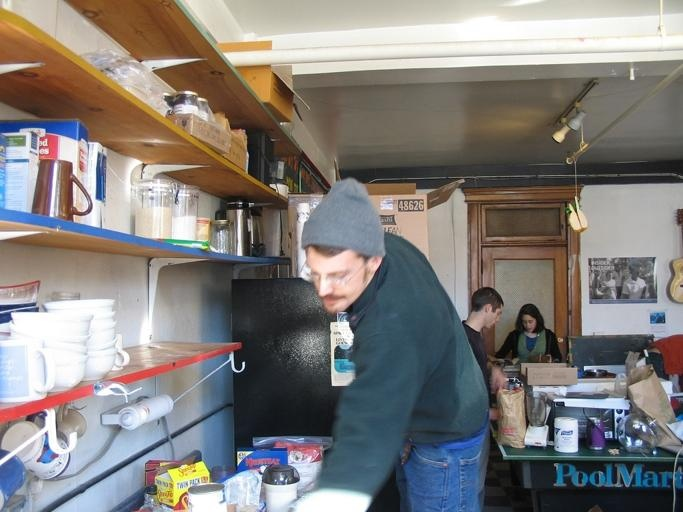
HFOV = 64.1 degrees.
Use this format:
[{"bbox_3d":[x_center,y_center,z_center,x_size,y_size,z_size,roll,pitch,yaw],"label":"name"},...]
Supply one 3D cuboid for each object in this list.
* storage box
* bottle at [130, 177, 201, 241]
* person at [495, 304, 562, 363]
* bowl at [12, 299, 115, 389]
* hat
[{"bbox_3d":[-0.373,-0.879,2.866,0.474,0.282,0.455,0,0,14],"label":"storage box"},{"bbox_3d":[-0.655,-0.161,2.130,0.274,0.249,0.268,0,-1,22],"label":"bottle"},{"bbox_3d":[1.969,0.787,5.636,0.435,0.584,0.708,0,-4,-13],"label":"person"},{"bbox_3d":[-0.727,0.247,1.526,0.261,0.174,0.205,1,-6,11],"label":"bowl"},{"bbox_3d":[0.018,-0.106,1.735,0.213,0.216,0.265,2,-16,5],"label":"hat"}]
